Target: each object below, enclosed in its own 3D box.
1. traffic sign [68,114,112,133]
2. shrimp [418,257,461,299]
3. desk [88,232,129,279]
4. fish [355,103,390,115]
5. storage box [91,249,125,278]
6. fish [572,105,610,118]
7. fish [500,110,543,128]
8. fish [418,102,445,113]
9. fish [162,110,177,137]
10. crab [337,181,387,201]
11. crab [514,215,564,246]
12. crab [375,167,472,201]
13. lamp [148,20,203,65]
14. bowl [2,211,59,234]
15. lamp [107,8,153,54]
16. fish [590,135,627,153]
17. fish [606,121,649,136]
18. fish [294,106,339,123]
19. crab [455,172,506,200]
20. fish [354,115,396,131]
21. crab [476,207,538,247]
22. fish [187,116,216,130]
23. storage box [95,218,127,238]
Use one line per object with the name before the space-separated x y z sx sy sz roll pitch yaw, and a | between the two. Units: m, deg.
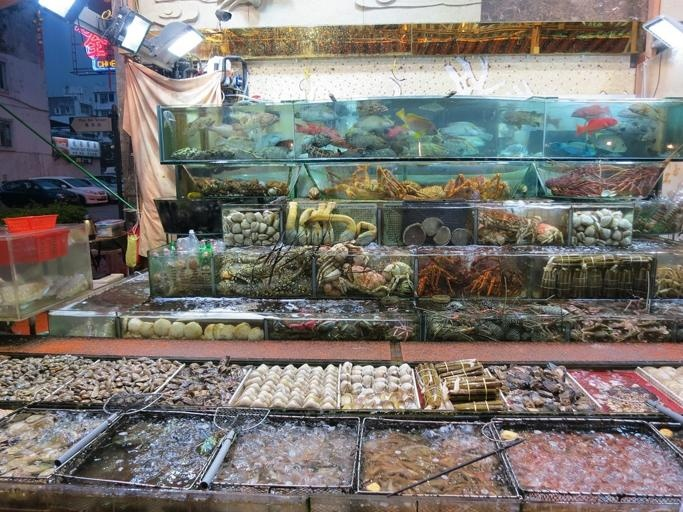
traffic sign | -4.034 -2.120 7.760 0.594 0.238 0.209 -4 12 -22
shrimp | 0.916 0.190 4.491 0.409 0.376 0.052 1 13 6
desk | -3.743 -0.032 7.765 0.610 0.730 0.594 1 14 -31
fish | 0.296 -1.545 5.017 0.280 0.116 0.081 2 11 4
storage box | -3.920 0.118 8.085 0.721 0.467 0.602 0 -1 -7
fish | 2.572 -1.487 4.984 0.351 0.132 0.025 0 13 3
fish | 1.898 -1.430 5.036 0.426 0.156 0.014 -1 13 -6
fish | 0.942 -1.540 5.029 0.163 0.111 0.036 -3 17 2
fish | -1.927 -1.491 5.388 0.150 0.267 0.025 2 13 10
crab | 0.220 -0.730 5.371 0.397 0.099 0.238 1 11 11
crab | 1.923 -0.237 4.775 0.469 0.149 0.293 3 1 7
crab | 0.936 -0.795 5.315 1.064 0.343 0.185 1 12 8
lamp | -2.246 -2.870 6.459 0.735 0.170 0.521 -20 -22 31
bowl | -2.766 -0.297 4.294 0.358 0.090 0.237 -9 11 -43
lamp | -2.757 -2.925 6.225 0.582 0.496 0.122 26 20 -20
fish | 2.788 -1.176 5.042 0.366 0.207 0.015 1 13 6
fish | 2.973 -1.320 4.990 0.403 0.127 0.023 0 13 2
fish | -0.275 -1.518 5.131 0.429 0.198 0.037 2 13 13
crab | 1.540 -0.781 5.360 0.483 0.177 0.332 -2 7 -19
fish | 0.345 -1.402 5.091 0.411 0.155 0.035 2 13 10
crab | 1.606 -0.304 4.855 0.725 0.336 0.430 -2 6 -22
fish | -1.543 -1.463 5.333 0.223 0.049 0.156 -5 5 19
storage box | -3.945 -0.454 8.139 0.354 0.177 0.475 2 11 13
